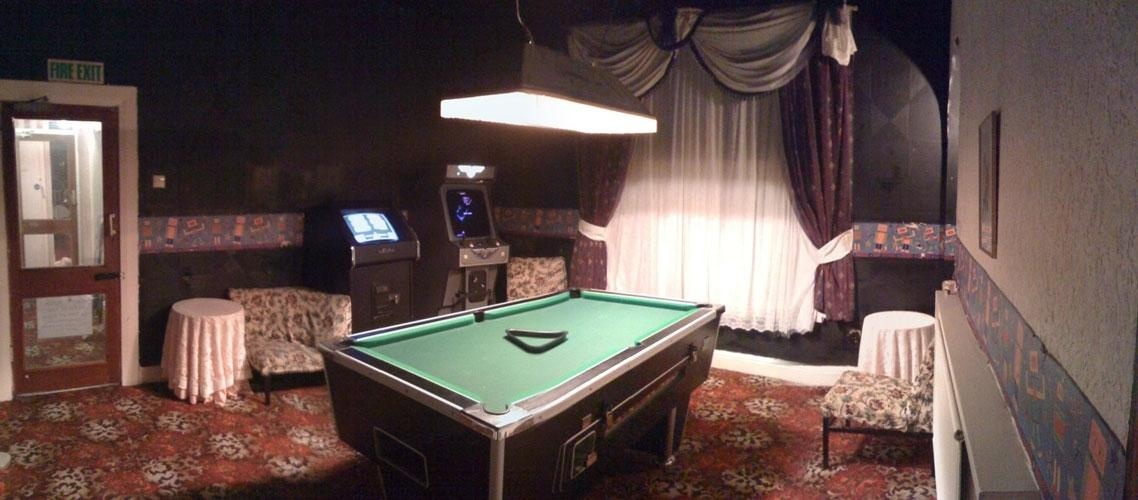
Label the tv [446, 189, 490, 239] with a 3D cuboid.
[{"bbox_3d":[-1.455,-0.515,9.930,0.804,0.655,0.173,-11,3,-34],"label":"tv"}]

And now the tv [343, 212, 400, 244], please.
[{"bbox_3d":[-2.694,-0.313,9.290,0.640,0.397,0.312,-5,8,-41],"label":"tv"}]

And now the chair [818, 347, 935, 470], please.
[{"bbox_3d":[3.612,1.831,8.394,1.636,1.517,1.339,0,-2,22],"label":"chair"}]

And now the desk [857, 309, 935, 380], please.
[{"bbox_3d":[4.132,1.149,8.555,0.907,0.663,0.924,8,4,40],"label":"desk"}]

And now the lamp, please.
[{"bbox_3d":[-0.150,-2.187,7.377,1.360,1.404,2.521,0,-1,40],"label":"lamp"}]

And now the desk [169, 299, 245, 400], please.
[{"bbox_3d":[-4.550,1.270,8.545,0.940,0.958,0.925,29,30,35],"label":"desk"}]
